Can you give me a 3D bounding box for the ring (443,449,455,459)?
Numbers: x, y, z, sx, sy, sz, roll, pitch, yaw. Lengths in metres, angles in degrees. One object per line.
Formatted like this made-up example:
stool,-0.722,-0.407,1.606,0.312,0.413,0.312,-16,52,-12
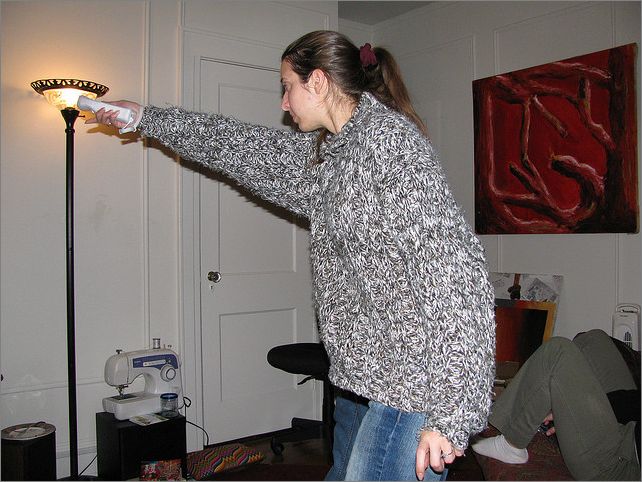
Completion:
ring,0.405,0.676,1.823,0.042,0.027,0.014,0,3,4
